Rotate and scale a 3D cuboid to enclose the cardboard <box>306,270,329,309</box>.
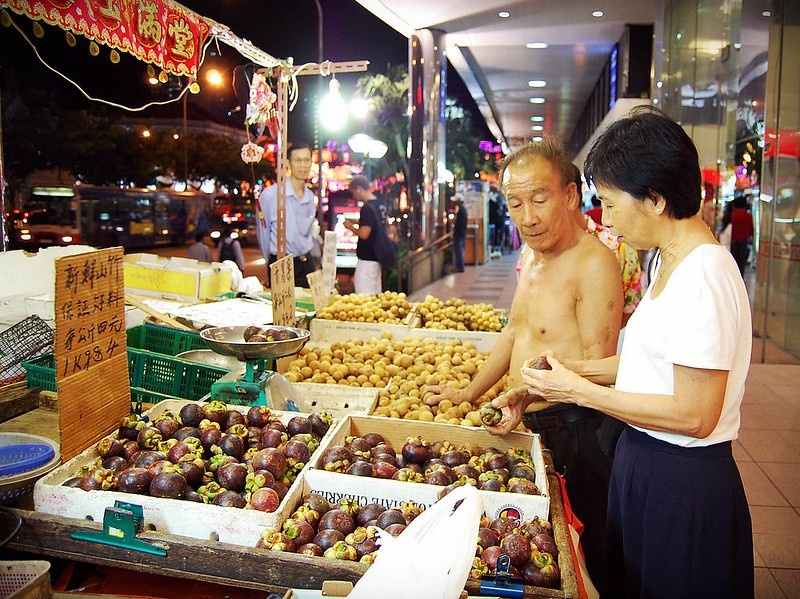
[{"bbox_3d":[-0.679,-0.075,5.083,0.020,0.273,0.258,-9,12,21],"label":"cardboard"}]

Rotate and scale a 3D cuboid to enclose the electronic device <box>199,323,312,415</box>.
[{"bbox_3d":[-0.698,0.318,3.049,0.432,0.485,0.441,1,9,2],"label":"electronic device"}]

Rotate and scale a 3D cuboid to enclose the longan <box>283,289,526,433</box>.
[{"bbox_3d":[-0.080,0.365,4.498,1.178,0.713,1.430,6,13,15],"label":"longan"}]
